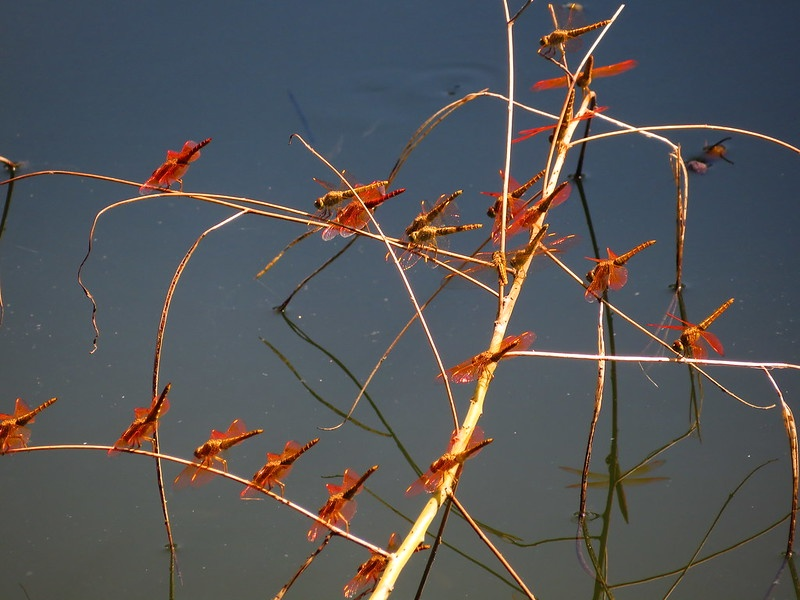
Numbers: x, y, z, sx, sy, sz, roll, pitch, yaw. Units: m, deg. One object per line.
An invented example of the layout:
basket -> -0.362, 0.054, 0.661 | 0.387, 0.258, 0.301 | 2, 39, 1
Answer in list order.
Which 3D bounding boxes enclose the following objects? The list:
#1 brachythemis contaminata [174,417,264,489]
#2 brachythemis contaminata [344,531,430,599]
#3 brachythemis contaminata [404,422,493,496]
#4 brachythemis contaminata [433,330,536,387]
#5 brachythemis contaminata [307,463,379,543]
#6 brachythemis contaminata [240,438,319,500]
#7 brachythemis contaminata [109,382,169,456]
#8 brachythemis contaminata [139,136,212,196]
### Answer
brachythemis contaminata -> -0.357, 0.319, 2.065 | 0.169, 0.229, 0.094 | -6, -93, 10
brachythemis contaminata -> -0.023, 0.549, 1.971 | 0.140, 0.139, 0.072 | -40, -102, 6
brachythemis contaminata -> 0.118, 0.303, 1.913 | 0.116, 0.119, 0.027 | -27, -84, 20
brachythemis contaminata -> 0.185, 0.114, 2.019 | 0.156, 0.104, 0.033 | -29, -66, -23
brachythemis contaminata -> -0.115, 0.398, 1.958 | 0.063, 0.125, 0.178 | 30, -62, -25
brachythemis contaminata -> -0.232, 0.325, 2.022 | 0.153, 0.154, 0.050 | -41, -75, 14
brachythemis contaminata -> -0.521, 0.247, 2.049 | 0.046, 0.138, 0.156 | 20, -62, -13
brachythemis contaminata -> -0.488, -0.284, 2.176 | 0.172, 0.062, 0.108 | -46, -69, 2
